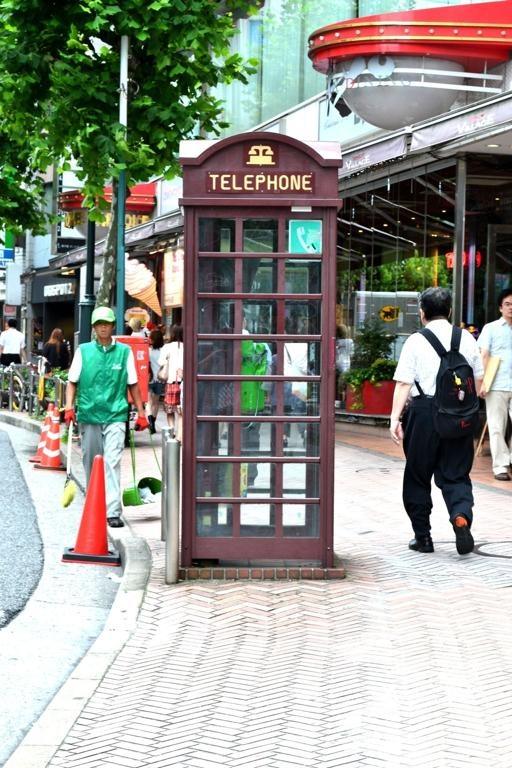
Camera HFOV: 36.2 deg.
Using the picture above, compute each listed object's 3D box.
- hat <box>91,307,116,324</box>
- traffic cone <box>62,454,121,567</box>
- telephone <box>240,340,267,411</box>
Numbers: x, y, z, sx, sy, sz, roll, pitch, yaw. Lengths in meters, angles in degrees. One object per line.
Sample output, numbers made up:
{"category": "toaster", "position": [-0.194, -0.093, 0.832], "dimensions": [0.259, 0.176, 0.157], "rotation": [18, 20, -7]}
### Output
{"category": "hat", "position": [-1.237, -0.551, 6.326], "dimensions": [0.157, 0.131, 0.240], "rotation": [-2, 1, -4]}
{"category": "traffic cone", "position": [-1.119, 0.870, 5.418], "dimensions": [0.372, 0.764, 0.430], "rotation": [0, 1, -6]}
{"category": "telephone", "position": [-0.010, -0.029, 4.683], "dimensions": [0.215, 0.360, 0.096], "rotation": [1, 4, -2]}
